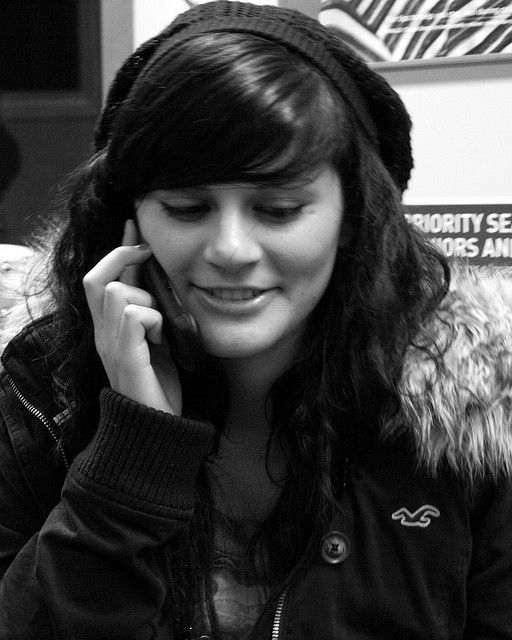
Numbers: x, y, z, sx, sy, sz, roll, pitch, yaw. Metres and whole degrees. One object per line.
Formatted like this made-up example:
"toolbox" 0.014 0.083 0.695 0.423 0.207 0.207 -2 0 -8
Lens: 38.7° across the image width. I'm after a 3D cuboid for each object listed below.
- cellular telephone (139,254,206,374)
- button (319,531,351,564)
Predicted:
"cellular telephone" -0.163 -0.013 1.431 0.034 0.223 0.085 -23 -18 0
"button" 0.147 0.426 1.365 0.056 0.047 0.034 2 16 1
